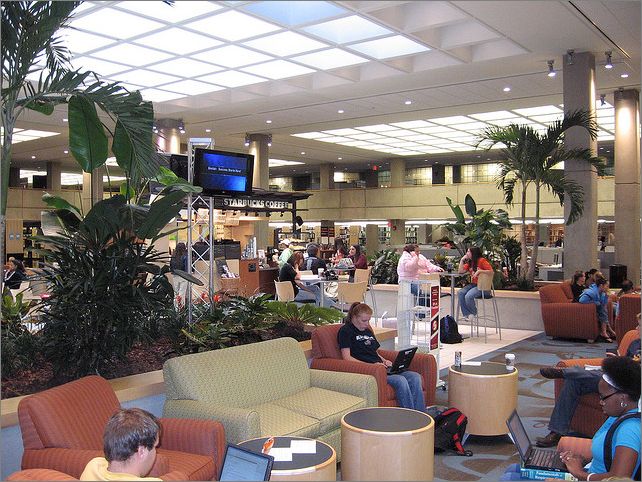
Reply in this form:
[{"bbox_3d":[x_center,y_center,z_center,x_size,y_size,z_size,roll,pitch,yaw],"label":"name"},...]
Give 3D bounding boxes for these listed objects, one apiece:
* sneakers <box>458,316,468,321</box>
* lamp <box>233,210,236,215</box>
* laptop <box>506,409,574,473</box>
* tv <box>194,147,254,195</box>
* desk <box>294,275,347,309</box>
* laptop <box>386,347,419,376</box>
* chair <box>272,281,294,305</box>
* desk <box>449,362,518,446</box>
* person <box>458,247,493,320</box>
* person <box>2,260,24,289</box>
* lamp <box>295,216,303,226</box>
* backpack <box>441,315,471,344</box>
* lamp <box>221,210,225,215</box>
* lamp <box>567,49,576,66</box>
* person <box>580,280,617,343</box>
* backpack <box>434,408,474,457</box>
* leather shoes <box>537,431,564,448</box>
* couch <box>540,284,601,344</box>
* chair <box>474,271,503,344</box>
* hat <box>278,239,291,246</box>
[{"bbox_3d":[3.296,1.792,11.036,0.205,0.086,0.282,6,-9,-28],"label":"sneakers"},{"bbox_3d":[-3.101,-1.004,17.056,0.116,0.211,0.210,-3,0,-3],"label":"lamp"},{"bbox_3d":[1.610,1.569,3.638,0.280,0.427,0.465,-21,-9,16],"label":"laptop"},{"bbox_3d":[-1.339,-0.923,6.508,0.873,0.604,0.112,4,-5,-39],"label":"tv"},{"bbox_3d":[-0.081,1.222,10.905,0.840,0.565,0.837,2,-1,-7],"label":"desk"},{"bbox_3d":[0.912,1.314,5.211,0.371,0.270,0.254,7,1,-39],"label":"laptop"},{"bbox_3d":[-0.708,1.043,9.528,0.370,0.640,0.449,3,11,15],"label":"chair"},{"bbox_3d":[1.822,1.812,5.474,0.851,0.816,0.758,3,3,-11],"label":"desk"},{"bbox_3d":[3.308,0.927,10.287,0.607,1.589,1.039,-2,0,-3],"label":"person"},{"bbox_3d":[-6.719,0.754,10.462,0.369,0.764,2.430,-2,0,-33],"label":"person"},{"bbox_3d":[-0.972,-0.874,21.179,0.416,0.480,0.348,-7,17,-42],"label":"lamp"},{"bbox_3d":[2.559,1.763,9.482,0.455,0.588,0.560,-1,3,-36],"label":"backpack"},{"bbox_3d":[-3.551,-1.019,17.392,0.149,0.144,0.150,2,4,22],"label":"lamp"},{"bbox_3d":[5.567,-4.057,10.604,0.127,0.242,0.313,-2,0,29],"label":"lamp"},{"bbox_3d":[5.531,1.348,9.515,0.598,1.201,0.720,2,3,-32],"label":"person"},{"bbox_3d":[1.364,1.945,4.888,0.340,0.475,0.452,4,-9,-36],"label":"backpack"},{"bbox_3d":[2.406,2.035,4.971,0.393,0.155,0.144,3,-6,-26],"label":"leather shoes"},{"bbox_3d":[5.172,1.733,10.419,1.049,1.100,1.859,3,-14,13],"label":"couch"},{"bbox_3d":[3.398,1.316,10.055,0.682,1.252,0.681,-2,-6,1],"label":"chair"},{"bbox_3d":[-1.364,0.079,17.687,0.423,0.223,0.305,13,2,21],"label":"hat"}]
